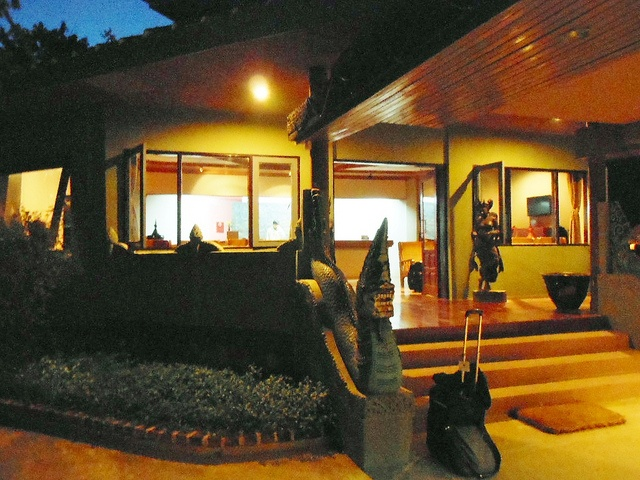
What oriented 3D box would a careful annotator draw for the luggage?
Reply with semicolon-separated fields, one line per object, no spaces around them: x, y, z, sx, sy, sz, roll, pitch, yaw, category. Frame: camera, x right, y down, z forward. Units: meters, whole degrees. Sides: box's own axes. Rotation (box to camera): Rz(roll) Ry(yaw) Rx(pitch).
1.490;1.722;5.983;0.728;1.380;0.337;0;1;11;luggage

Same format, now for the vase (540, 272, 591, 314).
3.952;0.786;9.188;0.755;0.608;0.766;-2;1;-13;vase

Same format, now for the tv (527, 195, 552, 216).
6.094;-0.938;15.880;0.081;0.445;0.606;2;-2;-19;tv
